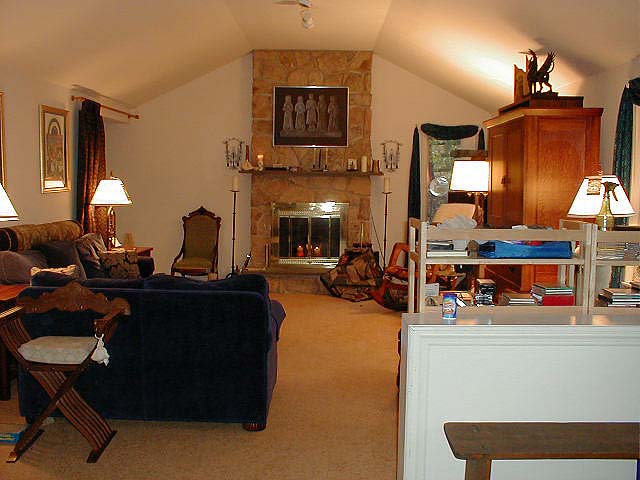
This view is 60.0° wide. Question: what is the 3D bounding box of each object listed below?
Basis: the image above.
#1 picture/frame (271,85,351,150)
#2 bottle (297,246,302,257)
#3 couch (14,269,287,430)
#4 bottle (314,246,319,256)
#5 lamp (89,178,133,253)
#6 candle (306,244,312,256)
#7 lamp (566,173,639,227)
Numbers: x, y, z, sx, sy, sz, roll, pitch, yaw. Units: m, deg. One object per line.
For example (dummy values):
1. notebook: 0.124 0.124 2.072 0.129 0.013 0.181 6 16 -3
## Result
1. picture/frame: -0.148 -1.948 8.567 0.983 0.710 0.042 0 4 -2
2. bottle: -0.296 0.177 8.686 0.099 0.176 0.080 1 11 -1
3. couch: -1.245 0.809 4.684 2.111 1.157 1.385 0 5 4
4. bottle: -0.042 0.177 8.735 0.084 0.110 0.104 -1 -6 0
5. lamp: -2.538 -0.315 6.977 0.540 0.865 0.531 22 -14 -39
6. candle: -0.159 0.166 8.682 0.098 0.194 0.087 0 11 -3
7. lamp: 2.335 -0.316 4.501 0.501 0.445 0.523 -1 11 6
